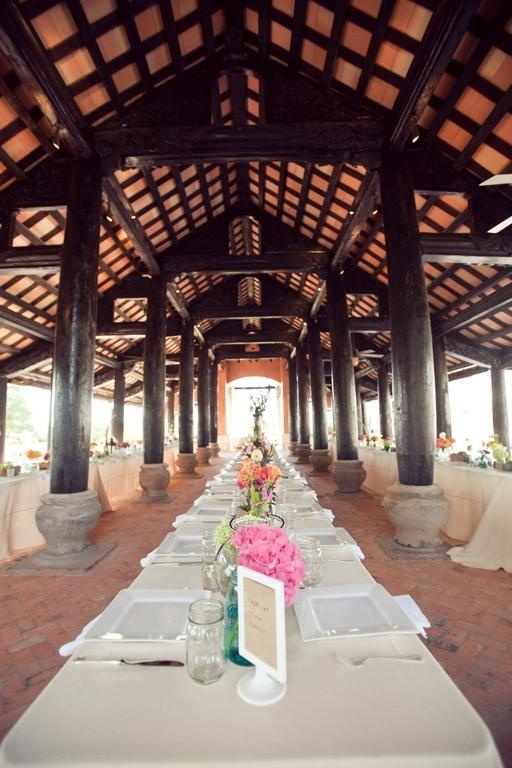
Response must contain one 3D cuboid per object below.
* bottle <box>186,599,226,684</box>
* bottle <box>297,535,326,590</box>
[{"bbox_3d":[-0.093,0.475,0.849,0.078,0.129,0.080,1,-12,0],"label":"bottle"},{"bbox_3d":[0.148,0.493,1.261,0.069,0.113,0.074,-1,-8,0],"label":"bottle"}]
